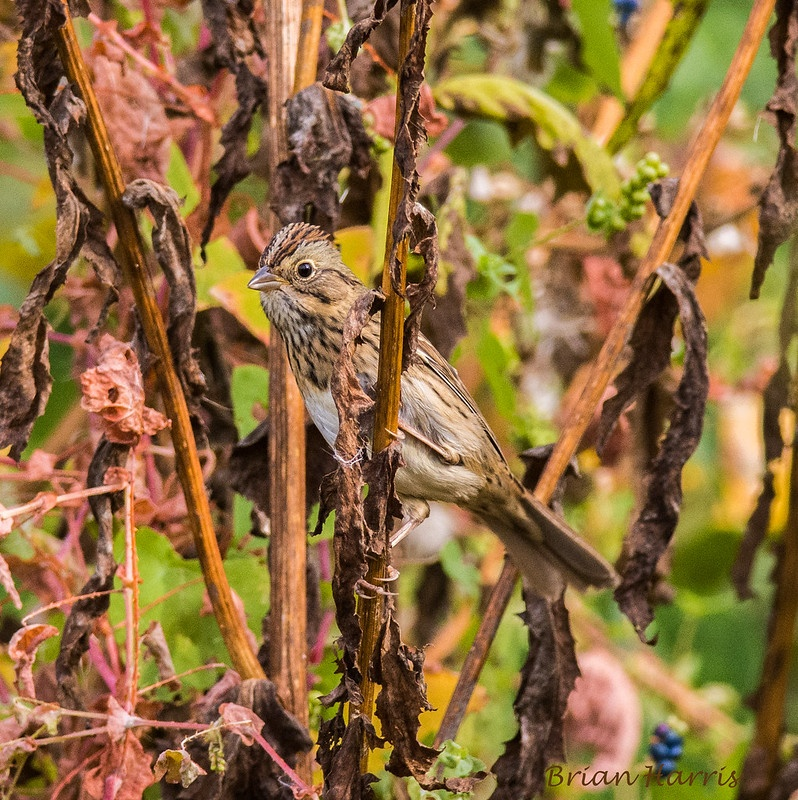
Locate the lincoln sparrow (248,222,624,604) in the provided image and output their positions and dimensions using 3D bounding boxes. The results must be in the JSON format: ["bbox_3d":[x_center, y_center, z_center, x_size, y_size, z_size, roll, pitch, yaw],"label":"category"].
[{"bbox_3d":[0.024,-0.003,2.773,0.538,0.815,1.001,-8,16,-34],"label":"lincoln sparrow"}]
